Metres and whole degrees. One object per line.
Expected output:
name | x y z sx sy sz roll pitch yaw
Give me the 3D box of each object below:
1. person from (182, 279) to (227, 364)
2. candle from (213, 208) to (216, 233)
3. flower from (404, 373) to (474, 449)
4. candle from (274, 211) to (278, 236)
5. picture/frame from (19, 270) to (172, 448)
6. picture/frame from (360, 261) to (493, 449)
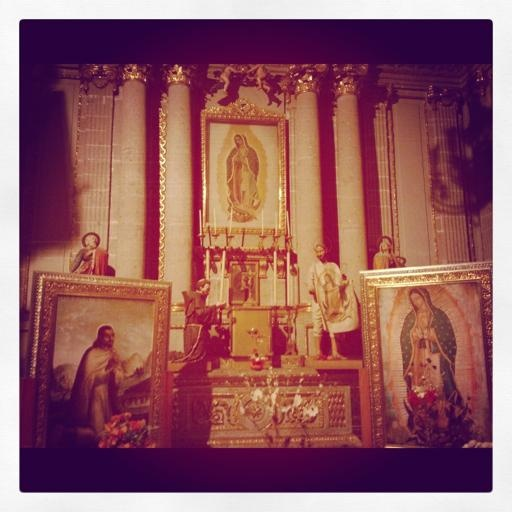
person | -0.577 0.775 7.568 0.401 0.966 0.848 0 -8 12
candle | -0.543 -0.464 8.406 0.055 0.354 0.119 3 -8 -9
flower | 1.937 1.719 6.852 0.600 0.536 0.334 -17 -28 14
candle | 0.248 -0.409 8.510 0.034 0.270 0.048 2 -8 -3
picture/frame | -1.668 1.131 6.688 1.544 2.419 0.097 2 -8 -15
picture/frame | 1.871 1.135 6.939 1.603 2.616 0.106 -4 -13 17
